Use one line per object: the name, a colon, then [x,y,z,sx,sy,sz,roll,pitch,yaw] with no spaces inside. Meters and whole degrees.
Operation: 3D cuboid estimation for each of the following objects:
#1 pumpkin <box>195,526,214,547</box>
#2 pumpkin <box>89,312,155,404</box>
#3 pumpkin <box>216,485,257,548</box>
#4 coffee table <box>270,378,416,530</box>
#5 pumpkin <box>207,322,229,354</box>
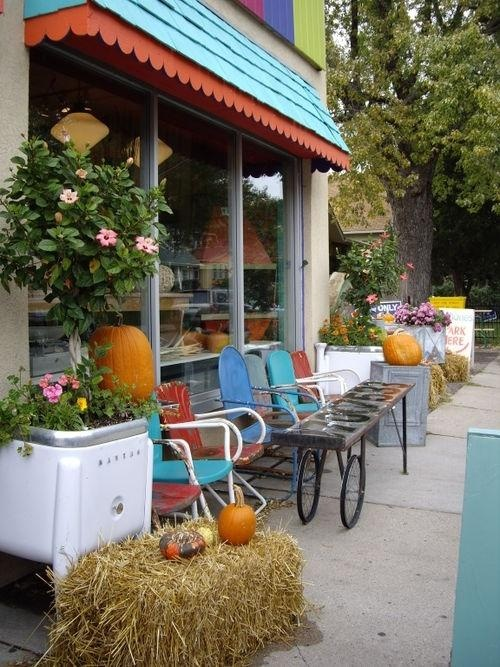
pumpkin: [-0.174,0.778,2.194,0.060,0.071,0.063,-15,5,-25]
pumpkin: [-0.598,0.102,2.649,0.245,0.404,0.248,1,8,-3]
pumpkin: [-0.055,0.720,2.242,0.146,0.171,0.149,1,0,-2]
coffee table: [0.764,0.783,3.859,0.480,0.637,1.725,2,7,27]
pumpkin: [-0.300,0.042,4.998,0.104,0.236,0.271,1,2,19]
